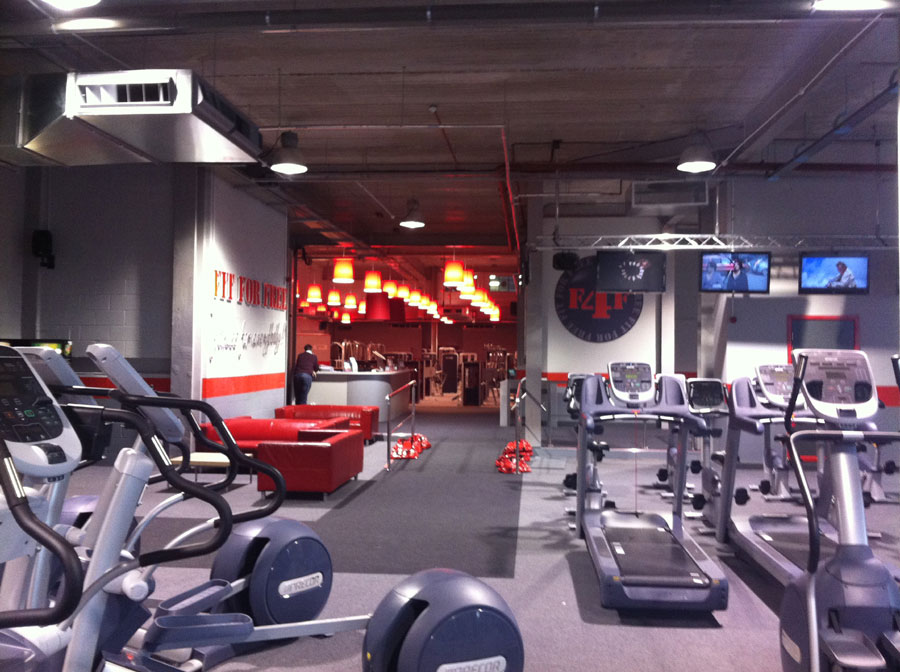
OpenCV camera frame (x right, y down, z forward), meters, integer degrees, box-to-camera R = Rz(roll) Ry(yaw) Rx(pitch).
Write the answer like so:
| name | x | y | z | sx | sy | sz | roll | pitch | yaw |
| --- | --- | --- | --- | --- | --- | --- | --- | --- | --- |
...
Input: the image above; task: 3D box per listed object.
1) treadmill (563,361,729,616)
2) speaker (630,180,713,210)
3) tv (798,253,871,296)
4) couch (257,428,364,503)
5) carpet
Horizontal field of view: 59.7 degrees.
| name | x | y | z | sx | sy | sz | roll | pitch | yaw |
| --- | --- | --- | --- | --- | --- | --- | --- | --- | --- |
| treadmill | 1.768 | 1.466 | 6.953 | 0.997 | 1.554 | 2.022 | 1 | -8 | 4 |
| speaker | 3.046 | -1.983 | 10.946 | 0.983 | 0.343 | 0.173 | 1 | 1 | 6 |
| tv | 5.188 | -0.821 | 10.604 | 0.825 | 0.583 | 0.346 | 6 | 0 | 33 |
| couch | -1.499 | 1.415 | 9.144 | 1.000 | 0.918 | 1.309 | 0 | -2 | 7 |
| carpet | -0.282 | 1.875 | 8.743 | 2.111 | 0.195 | 4.573 | 1 | 0 | 5 |
